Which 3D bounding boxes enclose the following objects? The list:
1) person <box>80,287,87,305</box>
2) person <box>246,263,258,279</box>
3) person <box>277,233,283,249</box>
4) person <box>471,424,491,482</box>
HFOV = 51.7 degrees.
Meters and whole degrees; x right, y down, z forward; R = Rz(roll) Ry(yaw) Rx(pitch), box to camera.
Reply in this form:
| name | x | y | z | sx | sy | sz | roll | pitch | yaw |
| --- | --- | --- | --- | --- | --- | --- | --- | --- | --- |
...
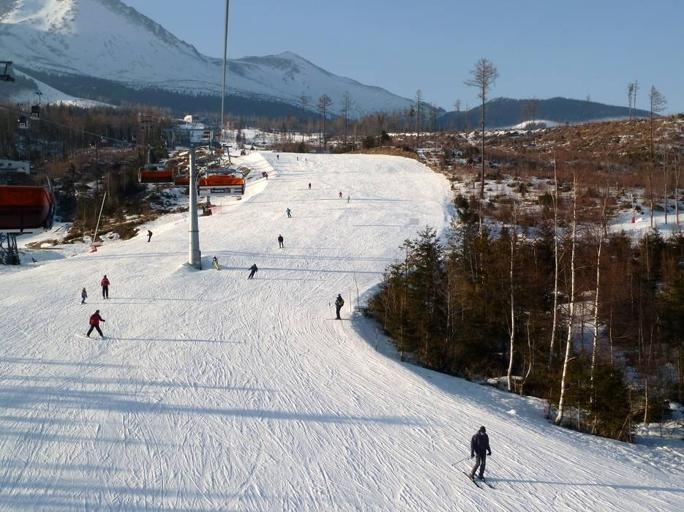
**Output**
| name | x | y | z | sx | sy | sz | roll | pitch | yaw |
| --- | --- | --- | --- | --- | --- | --- | --- | --- | --- |
| person | -22.979 | 3.562 | 62.634 | 0.558 | 2.177 | 0.975 | -2 | 6 | -10 |
| person | -8.855 | 1.398 | 70.571 | 0.911 | 1.402 | 2.883 | 3 | 7 | -7 |
| person | -6.731 | -1.693 | 78.343 | 0.629 | 1.398 | 3.141 | 3 | 7 | -6 |
| person | 9.428 | 13.192 | 47.831 | 1.154 | 3.769 | 0.920 | 1 | 19 | 5 |
